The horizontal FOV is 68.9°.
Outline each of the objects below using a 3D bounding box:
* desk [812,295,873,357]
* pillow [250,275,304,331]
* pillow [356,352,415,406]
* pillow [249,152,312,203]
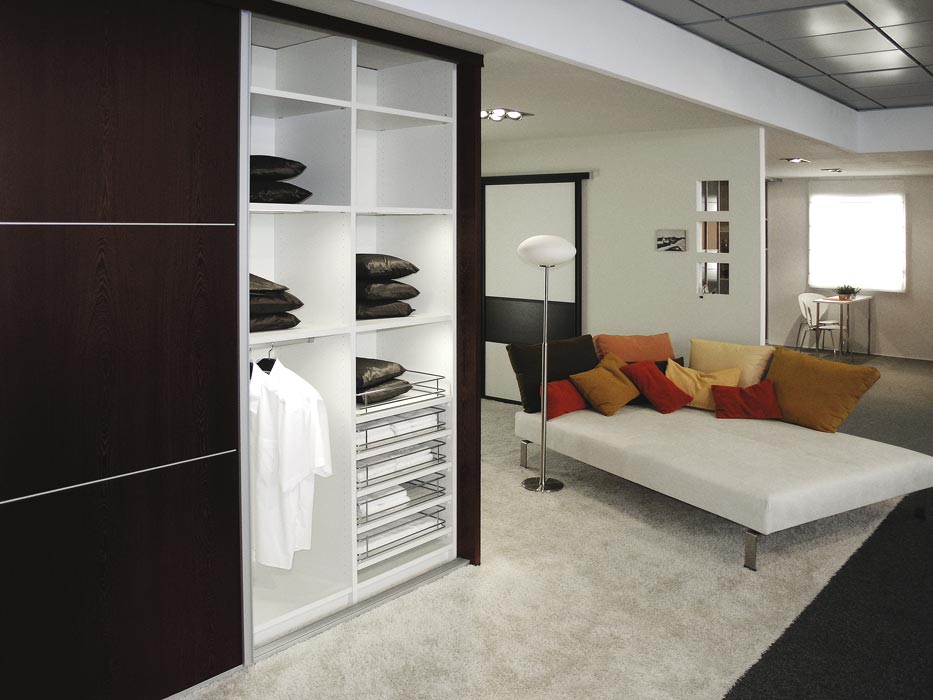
[{"bbox_3d":[5.407,-0.434,9.875,0.873,1.155,1.170,1,4,32],"label":"desk"},{"bbox_3d":[-0.868,-0.193,3.056,0.232,0.074,0.246,32,25,17],"label":"pillow"},{"bbox_3d":[-0.450,0.147,3.510,0.236,0.105,0.235,-11,22,-42],"label":"pillow"},{"bbox_3d":[-0.850,-0.792,3.115,0.249,0.263,0.077,2,-17,-1],"label":"pillow"}]
